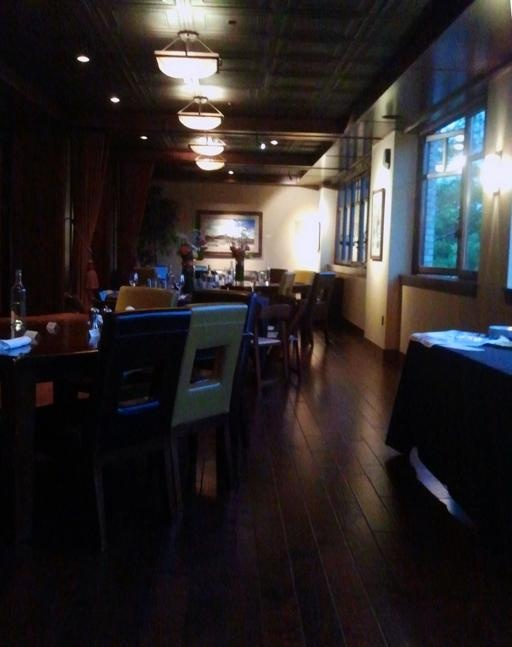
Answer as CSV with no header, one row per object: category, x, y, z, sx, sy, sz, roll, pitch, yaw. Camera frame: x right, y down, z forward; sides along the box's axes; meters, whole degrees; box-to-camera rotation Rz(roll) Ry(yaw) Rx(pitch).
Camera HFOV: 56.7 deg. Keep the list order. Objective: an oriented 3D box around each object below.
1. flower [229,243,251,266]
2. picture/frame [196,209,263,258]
flower,-0.221,-0.963,6.467,0.210,0.325,0.524,1,2,1
picture/frame,-0.636,-2.192,11.622,1.582,1.163,0.294,2,2,0
